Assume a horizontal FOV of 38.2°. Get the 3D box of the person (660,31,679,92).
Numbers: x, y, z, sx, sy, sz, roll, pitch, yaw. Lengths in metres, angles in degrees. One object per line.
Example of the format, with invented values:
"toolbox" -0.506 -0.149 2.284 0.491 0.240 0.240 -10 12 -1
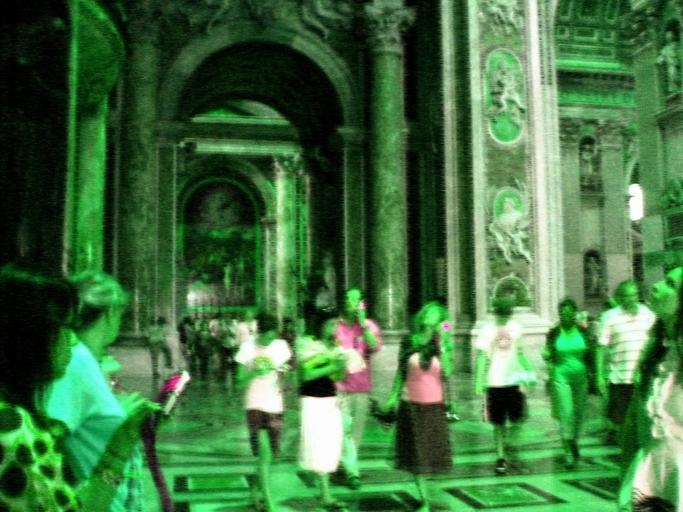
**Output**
"person" 4.241 -2.475 12.666 0.148 0.819 0.313 -2 3 -15
